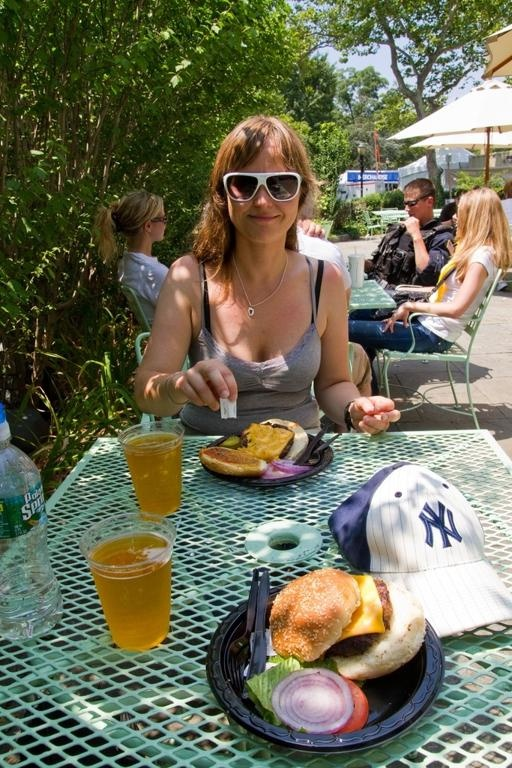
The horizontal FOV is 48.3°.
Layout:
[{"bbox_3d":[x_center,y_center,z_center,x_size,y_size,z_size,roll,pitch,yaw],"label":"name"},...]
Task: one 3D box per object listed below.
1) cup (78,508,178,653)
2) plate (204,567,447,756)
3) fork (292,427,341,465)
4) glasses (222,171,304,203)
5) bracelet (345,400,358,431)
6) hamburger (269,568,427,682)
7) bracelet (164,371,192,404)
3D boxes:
[{"bbox_3d":[-0.183,0.287,0.816,0.126,0.135,0.125,0,17,0],"label":"cup"},{"bbox_3d":[0.068,0.336,0.683,0.284,0.079,0.253,-1,13,23],"label":"plate"},{"bbox_3d":[0.150,0.148,1.416,0.048,0.019,0.168,12,20,18],"label":"fork"},{"bbox_3d":[0.019,-0.604,1.754,0.227,0.106,0.089,-7,12,-2],"label":"glasses"},{"bbox_3d":[0.273,0.091,1.647,0.059,0.067,0.026,20,-28,-34],"label":"bracelet"},{"bbox_3d":[0.116,0.295,0.742,0.212,0.071,0.216,-6,-3,-6],"label":"hamburger"},{"bbox_3d":[-0.216,0.016,1.530,0.071,0.038,0.095,4,43,0],"label":"bracelet"}]
